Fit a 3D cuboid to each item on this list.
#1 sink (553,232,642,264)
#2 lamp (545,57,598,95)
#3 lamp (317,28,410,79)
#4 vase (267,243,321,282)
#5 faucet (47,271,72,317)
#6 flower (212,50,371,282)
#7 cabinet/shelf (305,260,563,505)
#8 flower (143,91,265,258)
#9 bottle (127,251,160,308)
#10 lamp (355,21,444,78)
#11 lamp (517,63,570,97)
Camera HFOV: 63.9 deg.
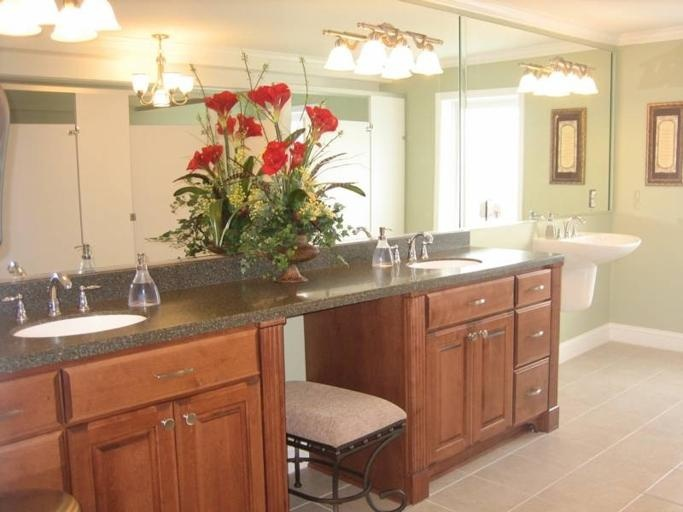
[{"bbox_3d":[1.815,-0.071,3.965,0.375,0.163,0.412,3,11,37],"label":"sink"},{"bbox_3d":[1.825,-1.450,4.419,0.389,0.209,0.155,-5,14,-34],"label":"lamp"},{"bbox_3d":[0.158,-1.139,3.158,0.597,0.258,0.215,-8,19,-39],"label":"lamp"},{"bbox_3d":[-0.208,0.031,2.559,0.182,0.148,0.182,0,8,13],"label":"vase"},{"bbox_3d":[-1.083,0.134,2.103,0.098,0.173,0.322,-7,11,-27],"label":"faucet"},{"bbox_3d":[-0.308,-0.431,2.617,0.669,1.076,0.516,-4,11,-17],"label":"flower"},{"bbox_3d":[0.563,0.632,3.310,1.017,1.408,1.902,3,7,42],"label":"cabinet/shelf"},{"bbox_3d":[-0.621,-0.371,2.902,0.732,0.761,0.672,0,4,-36],"label":"flower"},{"bbox_3d":[-0.797,0.094,2.199,0.121,0.200,0.166,-2,10,-6],"label":"bottle"},{"bbox_3d":[0.343,-1.214,3.277,0.224,0.273,0.646,13,17,40],"label":"lamp"},{"bbox_3d":[1.523,-1.357,4.210,0.337,0.184,0.136,-8,18,-32],"label":"lamp"}]
